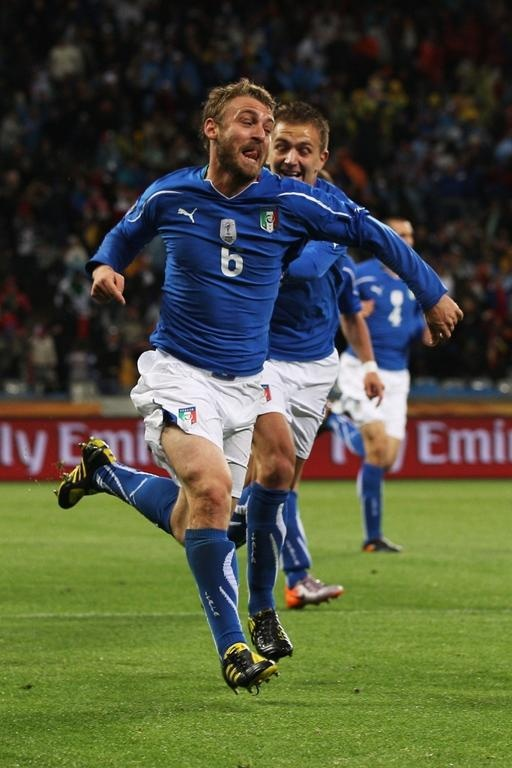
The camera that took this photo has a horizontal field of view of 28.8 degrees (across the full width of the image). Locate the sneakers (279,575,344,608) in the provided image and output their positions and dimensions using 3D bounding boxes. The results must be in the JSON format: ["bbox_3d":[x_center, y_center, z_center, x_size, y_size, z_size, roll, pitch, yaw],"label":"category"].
[{"bbox_3d":[0.240,0.897,4.296,0.214,0.154,0.196,-3,3,-14],"label":"sneakers"}]

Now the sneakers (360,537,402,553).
[{"bbox_3d":[0.699,0.903,5.571,0.167,0.054,0.078,-2,-3,12],"label":"sneakers"}]

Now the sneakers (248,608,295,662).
[{"bbox_3d":[0.041,0.799,3.185,0.091,0.091,0.228,-6,-5,-13],"label":"sneakers"}]

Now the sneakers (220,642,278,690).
[{"bbox_3d":[-0.021,0.743,2.625,0.079,0.094,0.189,-31,-3,-23],"label":"sneakers"}]
